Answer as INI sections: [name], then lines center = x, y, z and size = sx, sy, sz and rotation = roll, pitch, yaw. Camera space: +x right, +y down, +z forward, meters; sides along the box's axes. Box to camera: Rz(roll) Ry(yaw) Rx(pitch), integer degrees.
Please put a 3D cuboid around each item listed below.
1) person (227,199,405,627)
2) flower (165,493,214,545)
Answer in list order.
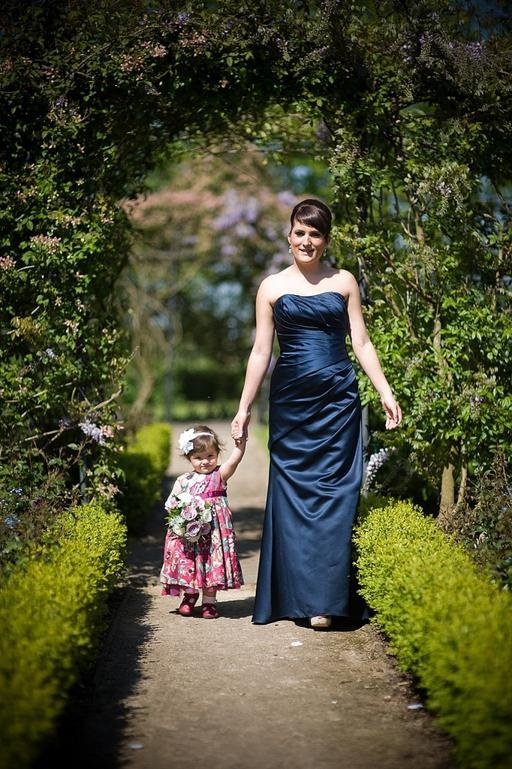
[person]
center = 0.271, 0.145, 3.591
size = 0.736, 2.008, 0.307
rotation = -1, 0, 8
[flower]
center = -0.313, 0.641, 3.727
size = 0.240, 0.218, 0.173
rotation = 15, 3, 22
